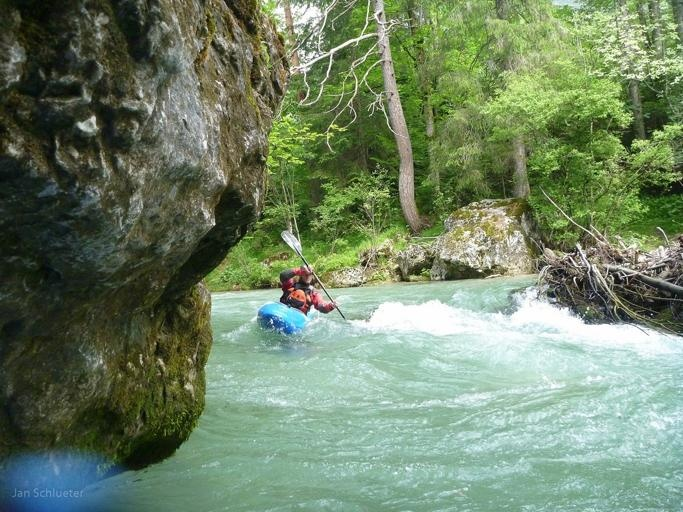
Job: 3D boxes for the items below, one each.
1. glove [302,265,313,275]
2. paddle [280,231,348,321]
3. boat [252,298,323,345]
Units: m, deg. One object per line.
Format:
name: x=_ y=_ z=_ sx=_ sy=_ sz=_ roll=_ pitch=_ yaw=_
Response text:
glove: x=-0.562 y=0.244 z=9.815 sx=0.145 sy=0.165 sz=0.256 roll=-5 pitch=8 yaw=-19
paddle: x=-0.590 y=0.450 z=14.462 sx=0.329 sy=2.302 sz=0.114 roll=-31 pitch=-6 yaw=-29
boat: x=-0.873 y=0.980 z=9.153 sx=0.828 sy=0.413 sz=0.742 roll=-4 pitch=8 yaw=-10
